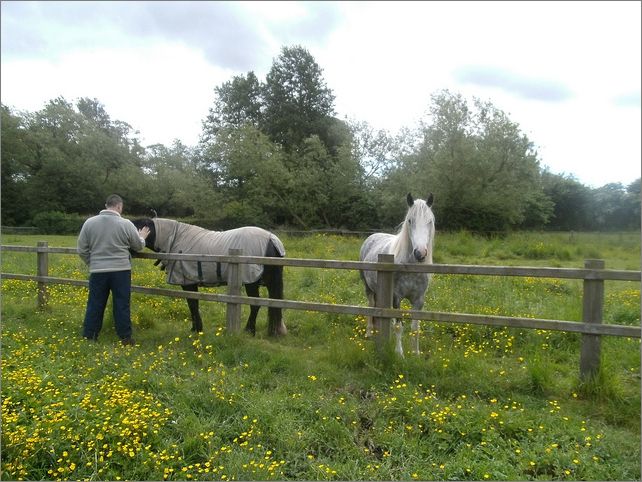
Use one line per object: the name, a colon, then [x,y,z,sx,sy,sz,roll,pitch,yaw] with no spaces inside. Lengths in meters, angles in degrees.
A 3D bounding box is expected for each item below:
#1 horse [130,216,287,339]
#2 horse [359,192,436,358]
horse: [-2.294,0.506,10.132,3.503,2.670,1.284,2,-1,15]
horse: [1.319,0.710,9.569,0.932,2.764,3.487,-1,1,-8]
